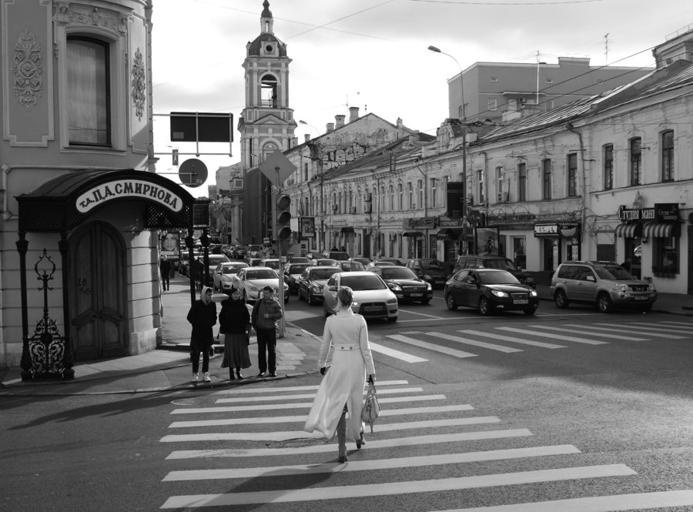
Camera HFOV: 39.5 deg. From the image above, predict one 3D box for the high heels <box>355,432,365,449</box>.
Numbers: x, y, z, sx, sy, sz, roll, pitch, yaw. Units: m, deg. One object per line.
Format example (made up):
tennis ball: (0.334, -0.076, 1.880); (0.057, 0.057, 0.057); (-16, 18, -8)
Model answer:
high heels: (0.316, 3.260, 17.022); (0.100, 0.145, 0.335); (1, 7, 3)

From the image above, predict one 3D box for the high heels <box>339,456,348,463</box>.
high heels: (0.008, 3.456, 16.476); (0.203, 0.118, 0.119); (-1, 9, -10)

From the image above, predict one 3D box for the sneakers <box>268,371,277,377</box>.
sneakers: (-1.641, 2.674, 22.210); (0.212, 0.161, 0.074); (-2, 7, -13)

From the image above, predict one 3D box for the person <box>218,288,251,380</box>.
person: (-2.505, 1.723, 22.090); (0.702, 2.010, 0.672); (-2, 0, -7)

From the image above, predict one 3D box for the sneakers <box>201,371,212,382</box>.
sneakers: (-3.130, 2.683, 21.807); (0.188, 0.213, 0.548); (-2, -1, -9)

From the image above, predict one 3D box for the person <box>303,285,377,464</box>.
person: (-0.017, 2.025, 16.844); (1.170, 2.979, 0.816); (-2, 0, -11)

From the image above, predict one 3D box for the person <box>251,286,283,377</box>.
person: (-1.804, 1.712, 22.555); (0.666, 1.987, 0.953); (-2, 0, -6)

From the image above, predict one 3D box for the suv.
suv: (9.490, 0.999, 34.037); (1.600, 1.545, 3.484); (1, -5, -23)

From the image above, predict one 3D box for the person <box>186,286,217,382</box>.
person: (-3.224, 1.738, 21.790); (0.619, 2.033, 0.525); (-2, 0, -9)

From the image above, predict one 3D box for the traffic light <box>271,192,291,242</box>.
traffic light: (-1.740, -1.174, 26.949); (0.536, 1.301, 1.304); (-2, 0, -5)

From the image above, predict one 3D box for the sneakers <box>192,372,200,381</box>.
sneakers: (-3.371, 2.682, 21.759); (0.161, 0.201, 0.398); (-2, -1, -10)

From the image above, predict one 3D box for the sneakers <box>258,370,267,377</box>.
sneakers: (-1.885, 2.698, 22.345); (0.216, 0.094, 0.088); (4, -4, -26)
